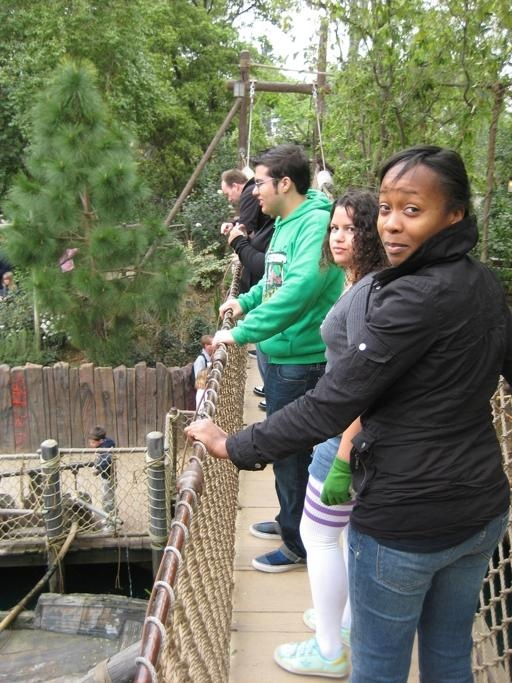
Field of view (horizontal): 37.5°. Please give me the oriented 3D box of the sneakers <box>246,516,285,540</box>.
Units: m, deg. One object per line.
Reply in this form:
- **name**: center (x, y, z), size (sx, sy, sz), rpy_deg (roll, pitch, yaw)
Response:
- **sneakers**: center (0.050, 0.827, 3.301), size (0.167, 0.087, 0.067), rpy_deg (6, -9, 7)

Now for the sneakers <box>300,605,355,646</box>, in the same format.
- **sneakers**: center (0.245, 0.959, 2.525), size (0.067, 0.071, 0.180), rpy_deg (2, 8, -21)

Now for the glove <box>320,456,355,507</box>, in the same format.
- **glove**: center (0.220, 0.366, 1.949), size (0.050, 0.118, 0.093), rpy_deg (3, 24, 12)

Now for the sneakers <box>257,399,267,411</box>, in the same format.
- **sneakers**: center (0.043, 0.444, 5.137), size (0.051, 0.050, 0.128), rpy_deg (4, 9, 0)

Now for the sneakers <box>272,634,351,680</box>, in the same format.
- **sneakers**: center (0.158, 0.991, 2.372), size (0.251, 0.091, 0.101), rpy_deg (1, -10, 17)

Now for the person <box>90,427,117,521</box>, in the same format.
- **person**: center (-1.212, 1.064, 5.955), size (0.202, 0.668, 1.621), rpy_deg (0, 1, -12)

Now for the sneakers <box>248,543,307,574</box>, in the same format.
- **sneakers**: center (0.082, 0.859, 2.958), size (0.224, 0.079, 0.095), rpy_deg (1, -2, -7)
